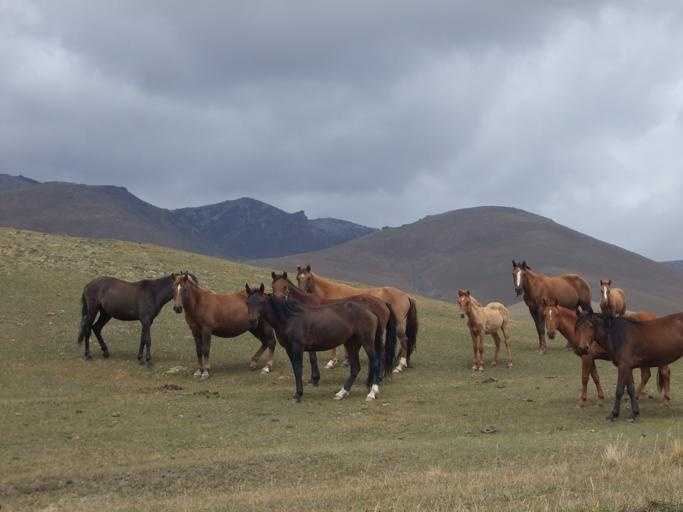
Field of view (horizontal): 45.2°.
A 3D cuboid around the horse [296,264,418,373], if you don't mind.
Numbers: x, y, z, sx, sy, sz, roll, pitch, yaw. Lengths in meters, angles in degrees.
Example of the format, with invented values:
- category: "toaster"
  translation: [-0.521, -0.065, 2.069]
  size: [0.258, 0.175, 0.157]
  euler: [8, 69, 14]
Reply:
- category: "horse"
  translation: [-0.462, 2.214, 23.537]
  size: [3.975, 3.587, 1.028]
  euler: [0, 13, -7]

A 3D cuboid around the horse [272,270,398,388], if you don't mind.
- category: "horse"
  translation: [-0.707, 2.387, 22.066]
  size: [3.839, 3.190, 1.052]
  euler: [1, -2, -13]

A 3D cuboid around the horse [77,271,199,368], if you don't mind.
- category: "horse"
  translation: [-6.619, 1.958, 26.106]
  size: [3.646, 3.059, 0.987]
  euler: [3, -1, 7]
